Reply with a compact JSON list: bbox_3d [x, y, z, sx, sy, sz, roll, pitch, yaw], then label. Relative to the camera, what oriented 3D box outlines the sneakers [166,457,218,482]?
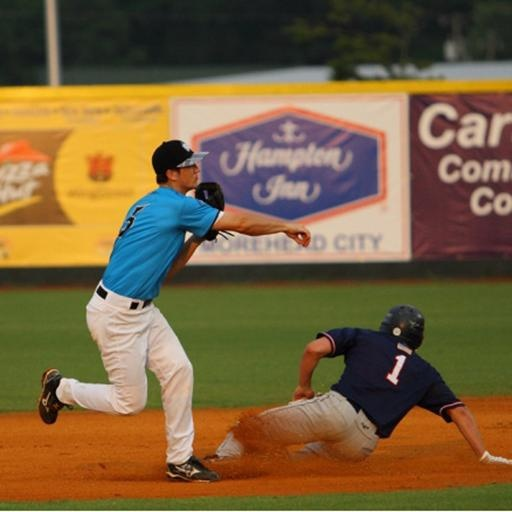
[{"bbox_3d":[-0.584,1.959,13.192,0.537,0.204,0.192,1,-4,5],"label":"sneakers"}]

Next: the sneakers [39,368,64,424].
[{"bbox_3d":[-1.912,1.301,13.596,0.255,0.497,0.218,17,20,34],"label":"sneakers"}]

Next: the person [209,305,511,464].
[{"bbox_3d":[0.869,1.315,13.153,2.178,0.899,1.500,-17,34,-24],"label":"person"}]
